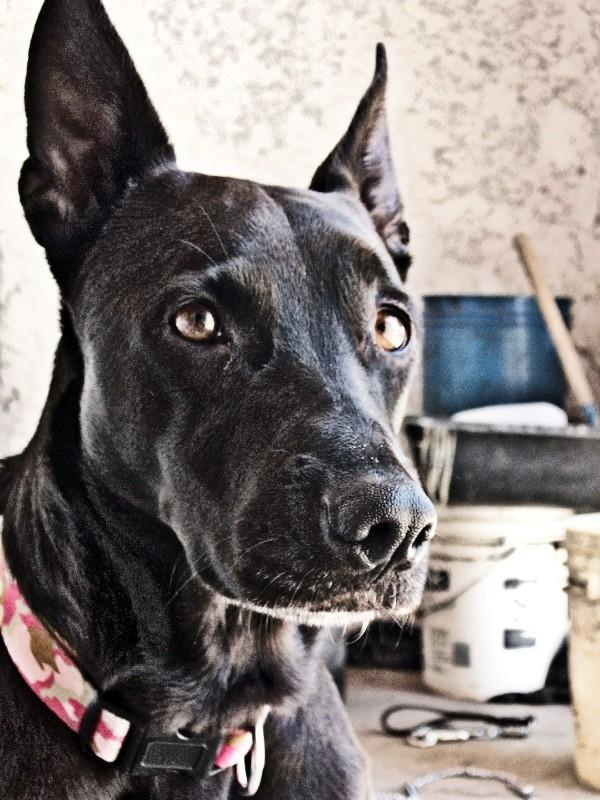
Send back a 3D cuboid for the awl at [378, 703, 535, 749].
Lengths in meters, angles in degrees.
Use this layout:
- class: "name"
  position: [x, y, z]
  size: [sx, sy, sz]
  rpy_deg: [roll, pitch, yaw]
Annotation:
- class: "awl"
  position: [0.211, 0.438, 1.484]
  size: [0.159, 0.084, 0.035]
  rpy_deg: [1, 84, -2]
